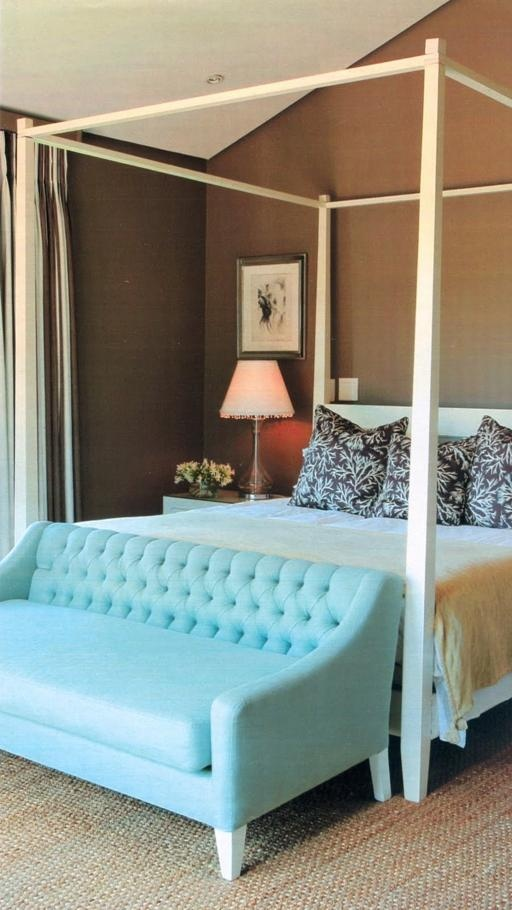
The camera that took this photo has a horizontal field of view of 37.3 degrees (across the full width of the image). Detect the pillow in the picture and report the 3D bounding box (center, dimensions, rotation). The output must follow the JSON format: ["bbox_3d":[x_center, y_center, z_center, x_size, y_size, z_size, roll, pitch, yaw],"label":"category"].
[{"bbox_3d":[0.682,0.079,3.433,0.417,0.482,1.046,-14,14,-39],"label":"pillow"}]

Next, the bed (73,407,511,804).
[{"bbox_3d":[0.529,0.341,2.805,1.372,0.919,1.359,4,5,41],"label":"bed"}]

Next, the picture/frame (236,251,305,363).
[{"bbox_3d":[0.115,-0.974,4.967,0.717,0.869,0.061,5,7,43],"label":"picture/frame"}]

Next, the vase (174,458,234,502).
[{"bbox_3d":[-0.318,0.155,4.883,0.277,0.206,0.290,0,-6,4],"label":"vase"}]
